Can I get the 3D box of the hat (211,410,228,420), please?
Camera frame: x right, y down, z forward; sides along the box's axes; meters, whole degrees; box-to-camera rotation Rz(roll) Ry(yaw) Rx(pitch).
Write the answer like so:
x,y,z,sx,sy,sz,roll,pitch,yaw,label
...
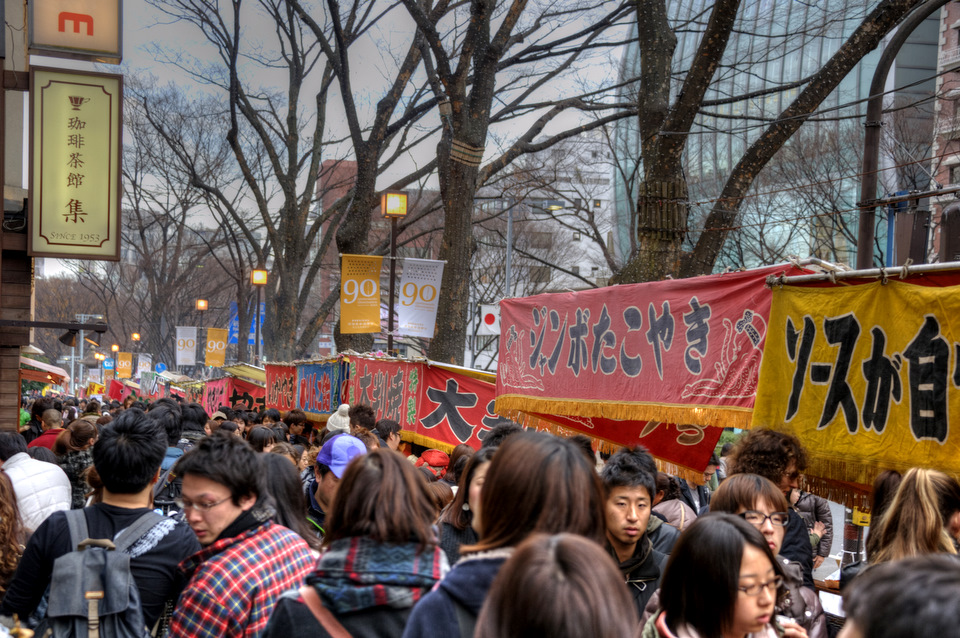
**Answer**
x,y,z,sx,sy,sz,roll,pitch,yaw,label
-4.200,1.568,13.923,0.269,0.162,0.213,3,-4,-44,hat
